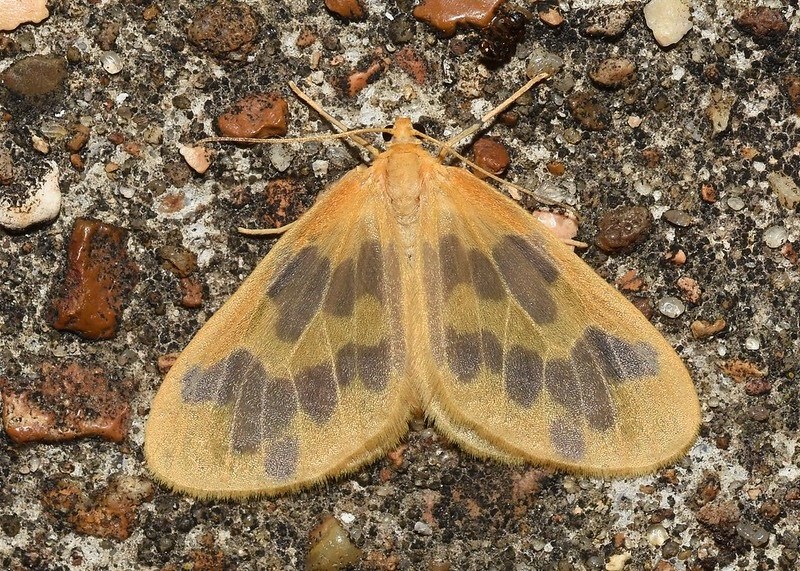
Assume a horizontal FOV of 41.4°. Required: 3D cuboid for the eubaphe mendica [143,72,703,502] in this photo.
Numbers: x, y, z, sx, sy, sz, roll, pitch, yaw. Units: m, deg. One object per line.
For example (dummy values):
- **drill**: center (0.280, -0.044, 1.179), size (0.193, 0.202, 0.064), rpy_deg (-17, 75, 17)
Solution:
- **eubaphe mendica**: center (0.091, -0.121, 4.255), size (2.114, 0.606, 1.927), rpy_deg (1, 73, 5)
